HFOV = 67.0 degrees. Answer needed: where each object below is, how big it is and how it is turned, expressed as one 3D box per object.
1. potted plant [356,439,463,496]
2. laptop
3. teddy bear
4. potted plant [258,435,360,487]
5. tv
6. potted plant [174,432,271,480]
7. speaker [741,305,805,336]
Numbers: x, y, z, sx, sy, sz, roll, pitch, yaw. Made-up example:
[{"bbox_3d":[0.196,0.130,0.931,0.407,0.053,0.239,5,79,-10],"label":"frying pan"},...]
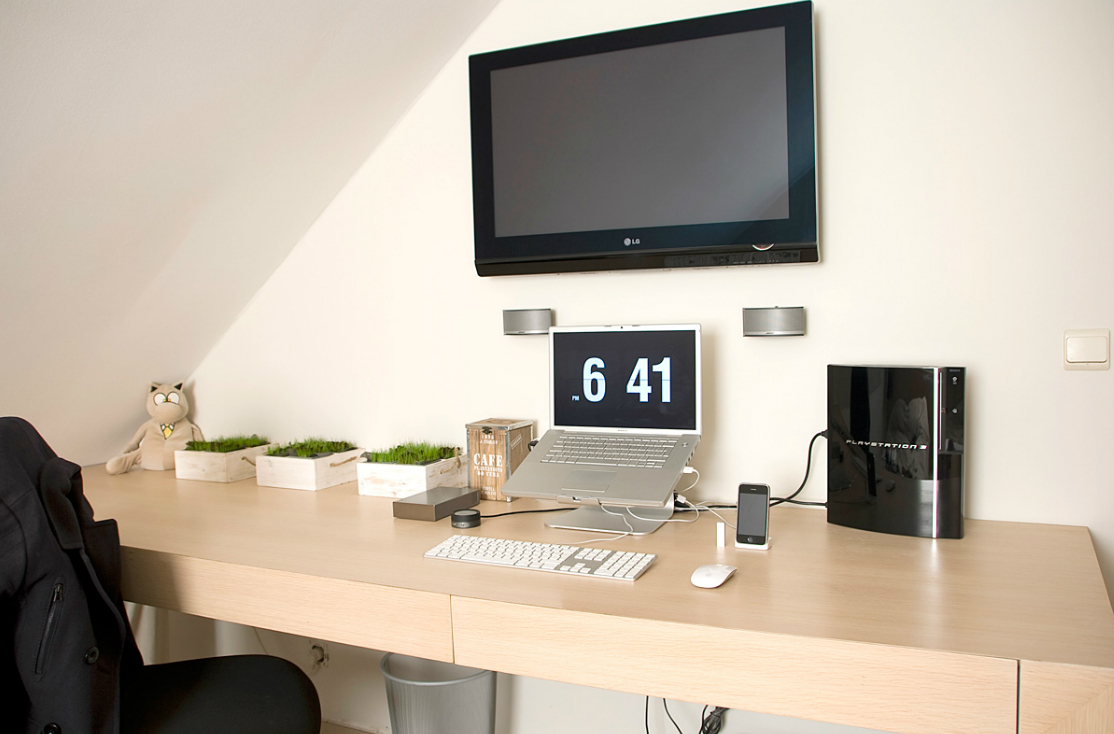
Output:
[{"bbox_3d":[-0.470,0.363,2.744,0.182,0.109,0.261,0,3,18],"label":"potted plant"},{"bbox_3d":[0.115,0.100,2.411,0.473,0.431,0.367,3,15,28],"label":"laptop"},{"bbox_3d":[-1.465,0.220,3.141,0.334,0.314,0.195,3,10,-11],"label":"teddy bear"},{"bbox_3d":[-0.862,0.322,2.880,0.199,0.093,0.207,3,7,26],"label":"potted plant"},{"bbox_3d":[0.299,-0.687,2.533,0.898,0.601,0.091,0,2,18],"label":"tv"},{"bbox_3d":[-1.216,0.315,3.020,0.207,0.103,0.212,2,7,14],"label":"potted plant"},{"bbox_3d":[0.647,-0.140,2.494,0.163,0.096,0.040,0,0,11],"label":"speaker"}]
